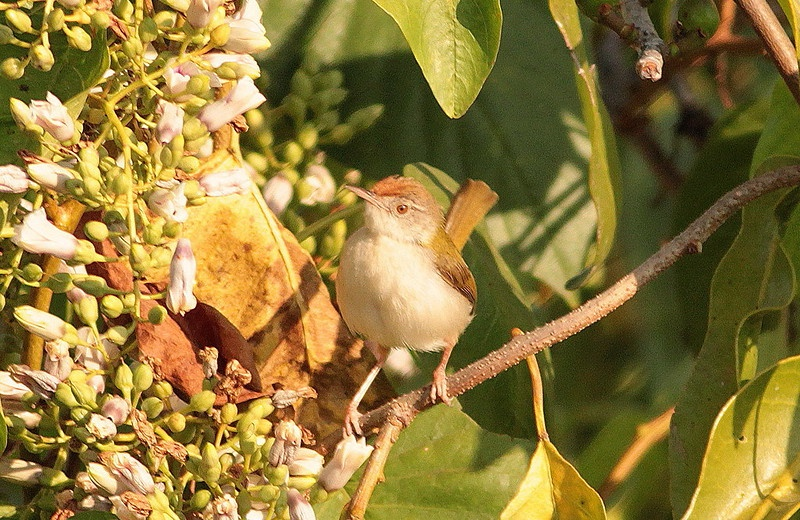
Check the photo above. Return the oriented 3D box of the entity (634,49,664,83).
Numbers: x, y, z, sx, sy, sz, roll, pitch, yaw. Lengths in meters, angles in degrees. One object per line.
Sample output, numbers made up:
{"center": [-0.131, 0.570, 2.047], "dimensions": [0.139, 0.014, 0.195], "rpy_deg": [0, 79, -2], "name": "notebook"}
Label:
{"center": [0.680, -0.535, 2.778], "dimensions": [0.077, 0.062, 0.138], "rpy_deg": [5, 35, 15], "name": "entity"}
